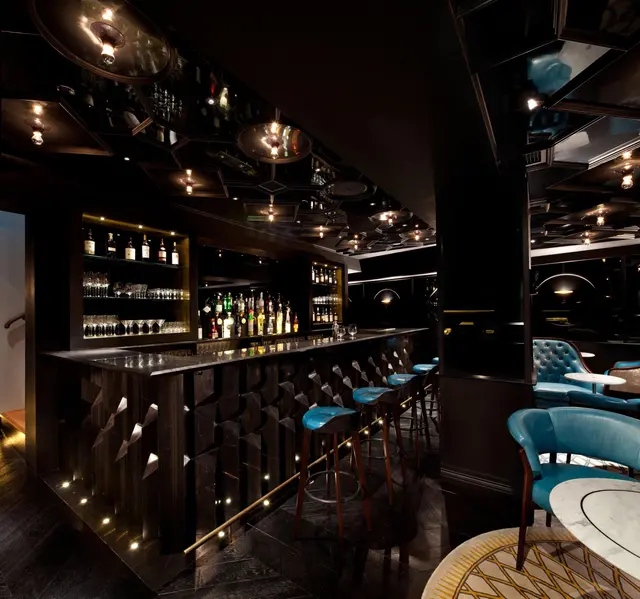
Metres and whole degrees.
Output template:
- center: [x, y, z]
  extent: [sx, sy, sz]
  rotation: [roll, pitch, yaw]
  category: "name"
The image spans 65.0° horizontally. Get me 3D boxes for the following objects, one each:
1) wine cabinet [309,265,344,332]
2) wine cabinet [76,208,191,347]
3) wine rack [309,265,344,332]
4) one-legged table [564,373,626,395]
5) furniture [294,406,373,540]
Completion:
- center: [0.027, 0.015, 7.671]
  extent: [0.245, 0.886, 0.888]
  rotation: [-4, -10, 27]
  category: "wine cabinet"
- center: [-1.853, -0.214, 4.935]
  extent: [0.348, 1.574, 1.296]
  rotation: [-2, -4, 27]
  category: "wine cabinet"
- center: [0.027, 0.015, 7.671]
  extent: [0.245, 0.886, 0.888]
  rotation: [-4, -10, 27]
  category: "wine rack"
- center: [2.721, 0.822, 5.166]
  extent: [0.350, 0.270, 0.377]
  rotation: [-5, 3, -4]
  category: "one-legged table"
- center: [0.075, 1.191, 3.921]
  extent: [0.555, 0.891, 1.128]
  rotation: [0, 10, 1]
  category: "furniture"
